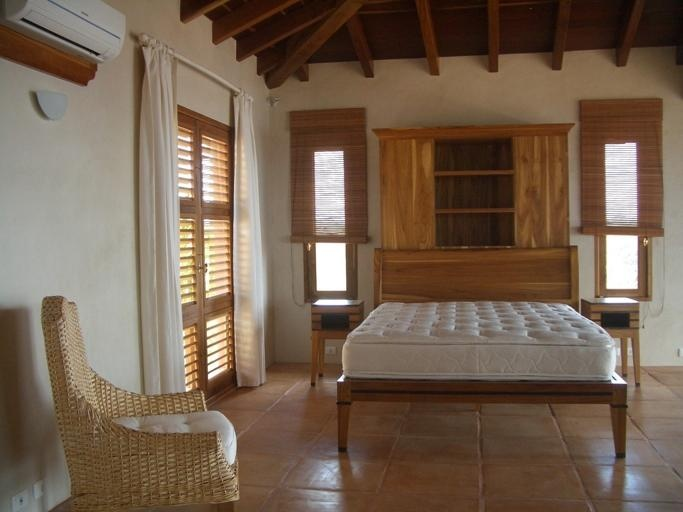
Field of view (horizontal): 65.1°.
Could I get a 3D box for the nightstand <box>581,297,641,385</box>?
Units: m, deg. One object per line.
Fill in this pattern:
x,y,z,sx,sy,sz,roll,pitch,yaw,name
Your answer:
2.753,0.802,5.471,0.460,0.760,0.585,-2,6,19,nightstand

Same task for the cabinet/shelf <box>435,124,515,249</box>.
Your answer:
1.447,-0.693,5.847,0.823,1.171,0.502,0,6,11,cabinet/shelf

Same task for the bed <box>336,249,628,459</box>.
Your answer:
1.220,0.595,4.804,1.999,1.366,2.664,-2,2,12,bed

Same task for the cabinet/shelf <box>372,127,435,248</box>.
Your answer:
0.699,-0.728,5.785,0.711,1.455,0.312,-8,33,-5,cabinet/shelf

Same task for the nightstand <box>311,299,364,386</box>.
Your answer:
0.046,0.870,5.687,0.715,1.075,0.744,-1,-5,5,nightstand
